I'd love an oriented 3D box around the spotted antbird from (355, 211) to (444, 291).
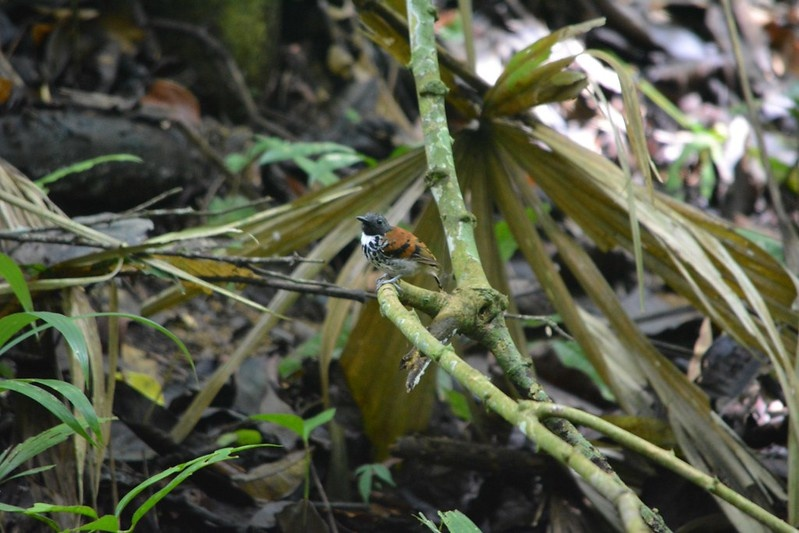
[{"bbox_3d":[0.037,-0.087,4.392,0.514,0.384,0.528,-2,1,-15],"label":"spotted antbird"}]
